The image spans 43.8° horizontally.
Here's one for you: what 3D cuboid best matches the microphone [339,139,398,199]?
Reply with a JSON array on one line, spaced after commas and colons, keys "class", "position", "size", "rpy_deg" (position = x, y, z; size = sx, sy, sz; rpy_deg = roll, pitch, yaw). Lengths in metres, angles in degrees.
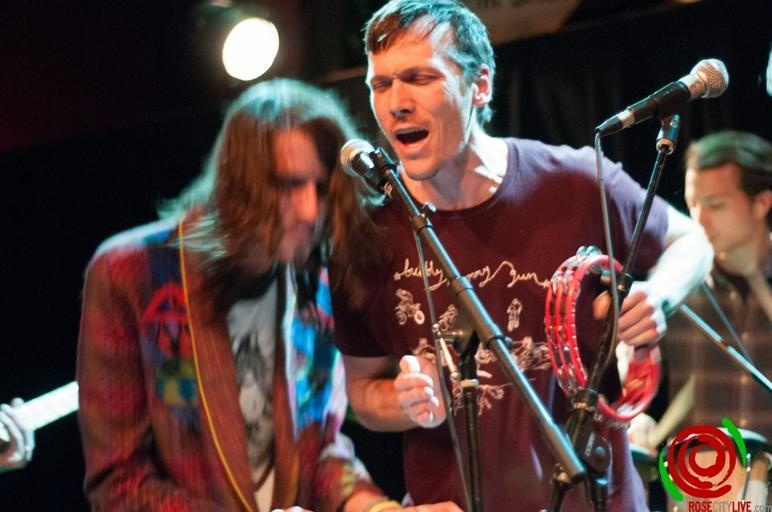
[{"class": "microphone", "position": [-0.088, -0.363, 4.086], "size": [0.148, 0.123, 0.278], "rpy_deg": [10, 26, -42]}]
